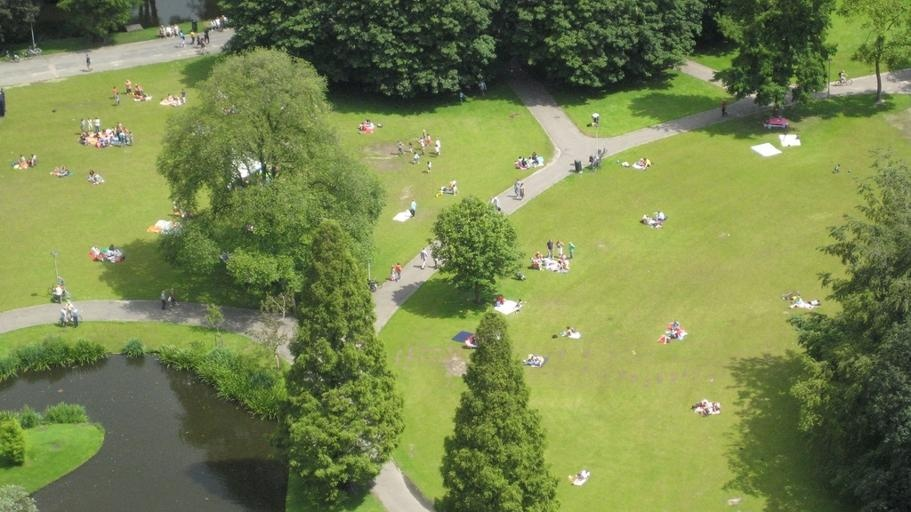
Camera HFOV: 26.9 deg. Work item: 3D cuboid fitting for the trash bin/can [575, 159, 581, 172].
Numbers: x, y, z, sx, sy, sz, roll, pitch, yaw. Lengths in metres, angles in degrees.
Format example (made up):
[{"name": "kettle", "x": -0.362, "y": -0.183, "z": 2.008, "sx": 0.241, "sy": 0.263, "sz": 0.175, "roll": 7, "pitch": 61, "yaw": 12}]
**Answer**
[{"name": "trash bin/can", "x": 19.907, "y": -14.702, "z": 309.136, "sx": 1.156, "sy": 1.909, "sz": 2.146, "roll": -2, "pitch": 29, "yaw": 4}]
